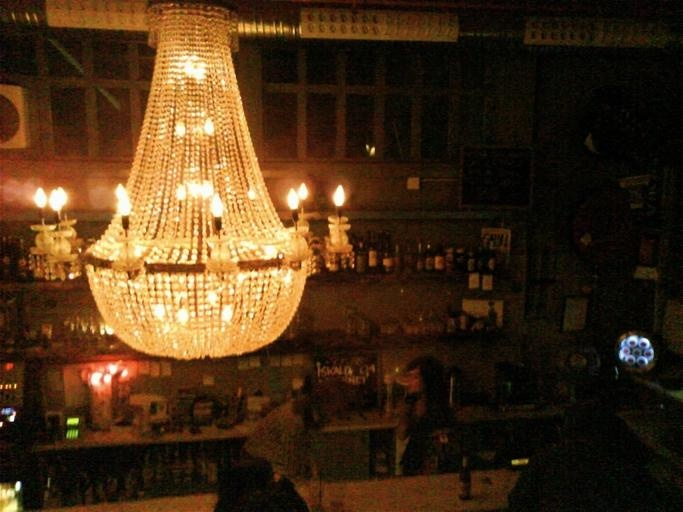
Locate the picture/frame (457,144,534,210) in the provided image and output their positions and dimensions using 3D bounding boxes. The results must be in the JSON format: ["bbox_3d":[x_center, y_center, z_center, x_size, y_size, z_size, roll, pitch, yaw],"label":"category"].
[{"bbox_3d":[1.277,-0.654,6.369,0.570,0.496,0.142,-1,6,8],"label":"picture/frame"}]
